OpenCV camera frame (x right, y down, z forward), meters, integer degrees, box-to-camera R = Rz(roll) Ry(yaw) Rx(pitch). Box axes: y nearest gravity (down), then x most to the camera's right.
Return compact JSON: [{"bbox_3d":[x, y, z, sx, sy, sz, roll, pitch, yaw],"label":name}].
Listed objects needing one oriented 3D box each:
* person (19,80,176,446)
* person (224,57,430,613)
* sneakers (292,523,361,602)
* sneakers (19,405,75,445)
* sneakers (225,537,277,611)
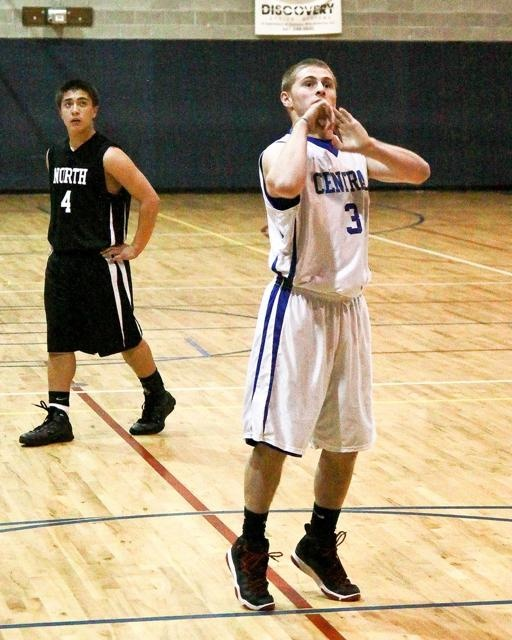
[{"bbox_3d":[-0.646,-0.258,3.103,0.542,1.590,0.314,0,6,-6],"label":"person"},{"bbox_3d":[0.143,0.031,1.690,0.479,1.310,0.270,-5,8,-42],"label":"person"},{"bbox_3d":[0.192,0.602,1.770,0.081,0.126,0.217,9,15,-42],"label":"sneakers"},{"bbox_3d":[-0.921,0.453,3.101,0.111,0.169,0.284,1,1,32],"label":"sneakers"},{"bbox_3d":[-0.015,0.584,1.685,0.074,0.089,0.200,7,29,-35],"label":"sneakers"}]
